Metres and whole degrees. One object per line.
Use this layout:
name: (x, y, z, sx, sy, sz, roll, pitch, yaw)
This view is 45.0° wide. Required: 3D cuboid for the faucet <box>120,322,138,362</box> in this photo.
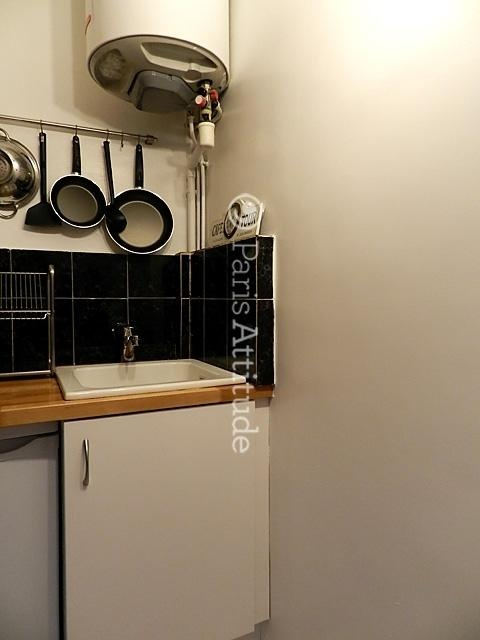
faucet: (-0.400, 0.090, 2.092, 0.059, 0.133, 0.171, -2, 2, -11)
